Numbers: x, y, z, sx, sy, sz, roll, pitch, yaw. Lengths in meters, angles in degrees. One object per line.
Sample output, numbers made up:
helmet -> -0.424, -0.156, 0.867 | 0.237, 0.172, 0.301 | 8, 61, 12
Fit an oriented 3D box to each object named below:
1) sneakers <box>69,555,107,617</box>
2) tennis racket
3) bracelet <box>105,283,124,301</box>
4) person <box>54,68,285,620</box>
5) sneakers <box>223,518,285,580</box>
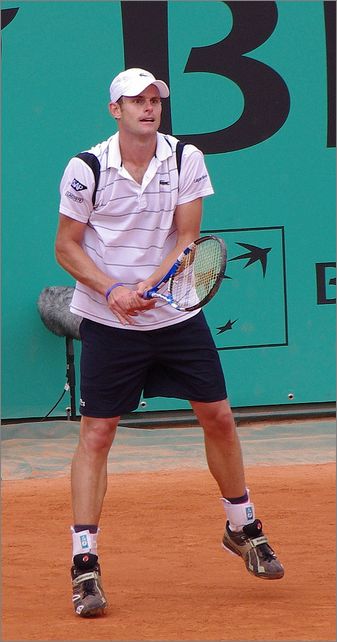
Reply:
sneakers -> -0.272, 0.900, 2.071 | 0.106, 0.204, 0.154 | -3, -4, -11
tennis racket -> 0.071, -0.168, 2.162 | 0.277, 0.264, 0.367 | -4, -4, 6
bracelet -> -0.181, -0.097, 2.064 | 0.015, 0.055, 0.056 | 27, 54, 6
person -> -0.031, 0.038, 2.216 | 0.709, 1.911, 0.381 | -2, -3, -19
sneakers -> 0.322, 0.857, 2.313 | 0.114, 0.163, 0.338 | 2, 6, -28
